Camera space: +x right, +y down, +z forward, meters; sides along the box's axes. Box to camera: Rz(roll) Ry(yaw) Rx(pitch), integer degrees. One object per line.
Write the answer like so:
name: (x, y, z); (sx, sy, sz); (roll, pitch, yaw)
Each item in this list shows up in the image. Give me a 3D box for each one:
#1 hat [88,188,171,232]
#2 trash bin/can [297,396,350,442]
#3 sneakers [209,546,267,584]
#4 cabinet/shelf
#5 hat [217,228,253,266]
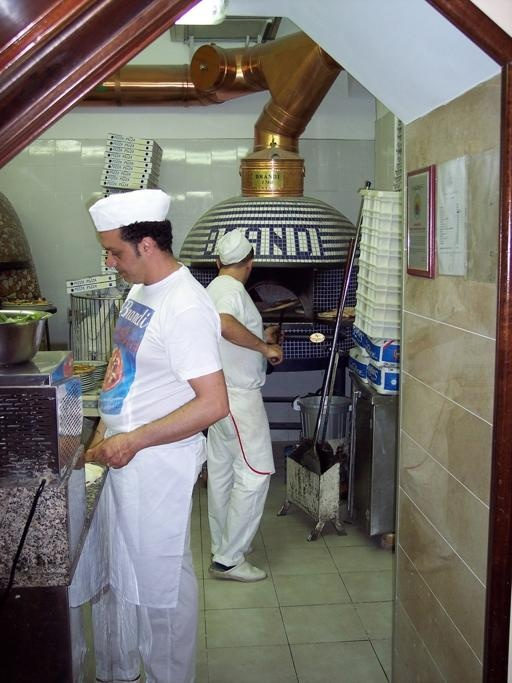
hat: (-0.336, -0.355, 1.408); (0.171, 0.070, 0.131); (-1, 18, 15)
trash bin/can: (0.425, 0.469, 3.329); (0.302, 0.217, 0.276); (4, 7, 26)
sneakers: (-0.085, 1.095, 2.574); (0.277, 0.112, 0.103); (2, -1, 1)
cabinet/shelf: (0.603, 0.647, 2.751); (0.190, 0.889, 0.591); (0, 4, 4)
hat: (-0.109, -0.473, 2.637); (0.144, 0.184, 0.107); (-3, -38, 4)
